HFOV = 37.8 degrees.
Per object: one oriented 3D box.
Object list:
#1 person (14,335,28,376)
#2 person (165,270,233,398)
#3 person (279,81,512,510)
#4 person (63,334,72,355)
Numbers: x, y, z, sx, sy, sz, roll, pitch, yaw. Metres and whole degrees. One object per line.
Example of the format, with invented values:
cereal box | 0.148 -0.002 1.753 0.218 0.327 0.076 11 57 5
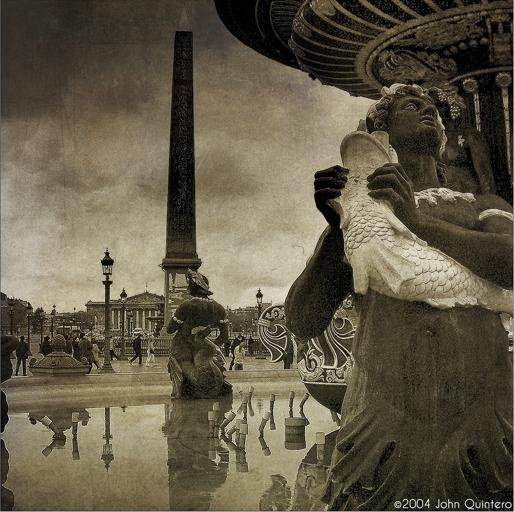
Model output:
person | -3.834 1.661 12.225 0.199 0.623 1.813 2 -10 -17
person | -0.740 0.962 9.333 0.883 1.619 0.693 3 -9 -23
person | 0.529 0.098 2.605 0.784 1.550 0.447 -1 -8 1
person | -3.597 1.695 14.232 0.132 0.390 0.731 1 -9 -11
